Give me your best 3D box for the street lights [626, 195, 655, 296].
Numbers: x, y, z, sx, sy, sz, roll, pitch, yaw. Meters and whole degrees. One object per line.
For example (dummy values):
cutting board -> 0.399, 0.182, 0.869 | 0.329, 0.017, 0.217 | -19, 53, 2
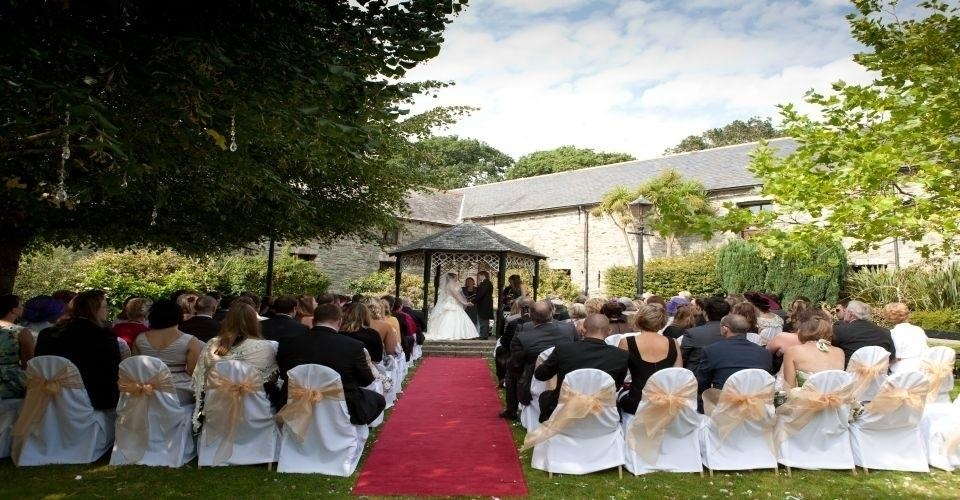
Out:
street lights -> 4.282, -0.270, 17.055 | 0.849, 2.288, 0.677 | -7, -48, 8

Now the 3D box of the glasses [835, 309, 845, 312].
glasses -> 6.708, 1.106, 12.114 | 0.120, 0.030, 0.102 | 7, -10, -9
